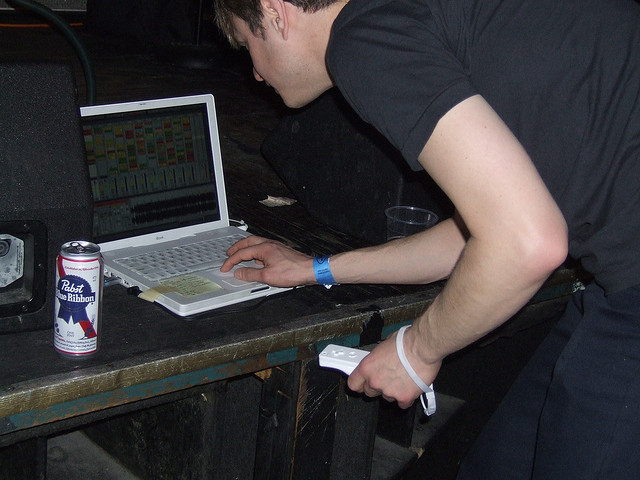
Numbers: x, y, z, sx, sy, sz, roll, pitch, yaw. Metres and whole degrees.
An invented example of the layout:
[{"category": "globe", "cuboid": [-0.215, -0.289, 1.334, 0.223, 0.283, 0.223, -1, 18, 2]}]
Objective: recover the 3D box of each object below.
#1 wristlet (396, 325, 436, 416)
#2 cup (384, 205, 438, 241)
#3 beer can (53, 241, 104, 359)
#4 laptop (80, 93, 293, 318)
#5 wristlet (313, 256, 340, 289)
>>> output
[{"category": "wristlet", "cuboid": [0.185, 0.252, 0.979, 0.039, 0.155, 0.112, -17, 6, 26]}, {"category": "cup", "cuboid": [0.252, -0.052, 1.346, 0.133, 0.094, 0.139, 6, 13, -1]}, {"category": "beer can", "cuboid": [-0.388, 0.096, 0.828, 0.077, 0.189, 0.073, 4, 10, -1]}, {"category": "laptop", "cuboid": [-0.335, -0.028, 1.245, 0.457, 0.372, 0.506, -11, 37, -45]}, {"category": "wristlet", "cuboid": [0.013, 0.065, 1.156, 0.041, 0.074, 0.081, -11, 63, 9]}]
